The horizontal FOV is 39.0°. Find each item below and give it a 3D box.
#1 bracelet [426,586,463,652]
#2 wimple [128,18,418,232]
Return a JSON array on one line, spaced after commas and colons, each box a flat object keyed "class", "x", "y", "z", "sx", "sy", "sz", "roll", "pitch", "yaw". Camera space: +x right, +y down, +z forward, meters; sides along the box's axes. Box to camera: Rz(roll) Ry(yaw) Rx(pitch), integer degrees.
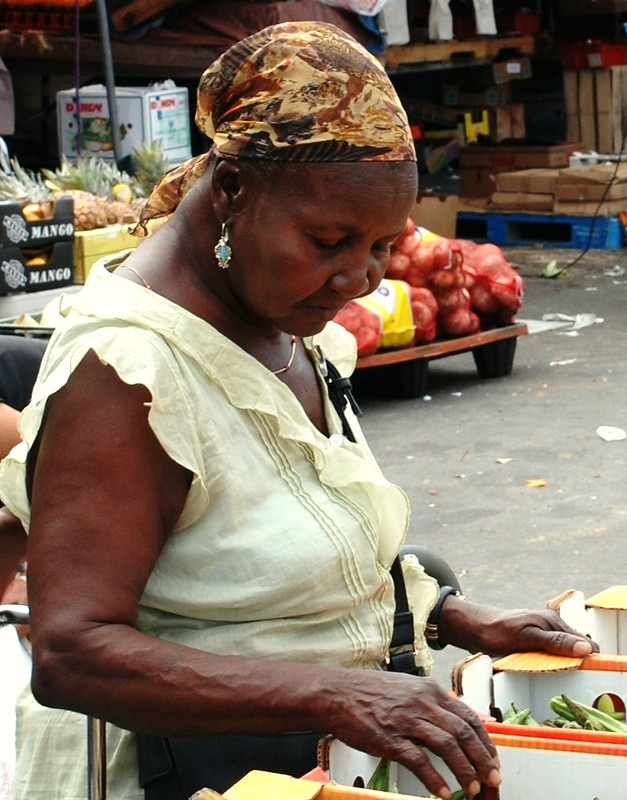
[{"class": "bracelet", "x": 0.217, "y": 0.396, "z": 1.617, "sx": 0.050, "sy": 0.110, "sz": 0.090, "roll": 20, "pitch": -20, "yaw": 15}, {"class": "wimple", "x": -0.064, "y": -0.372, "z": 1.202, "sx": 0.426, "sy": 0.191, "sz": 0.261, "roll": -4, "pitch": 13, "yaw": 40}]
